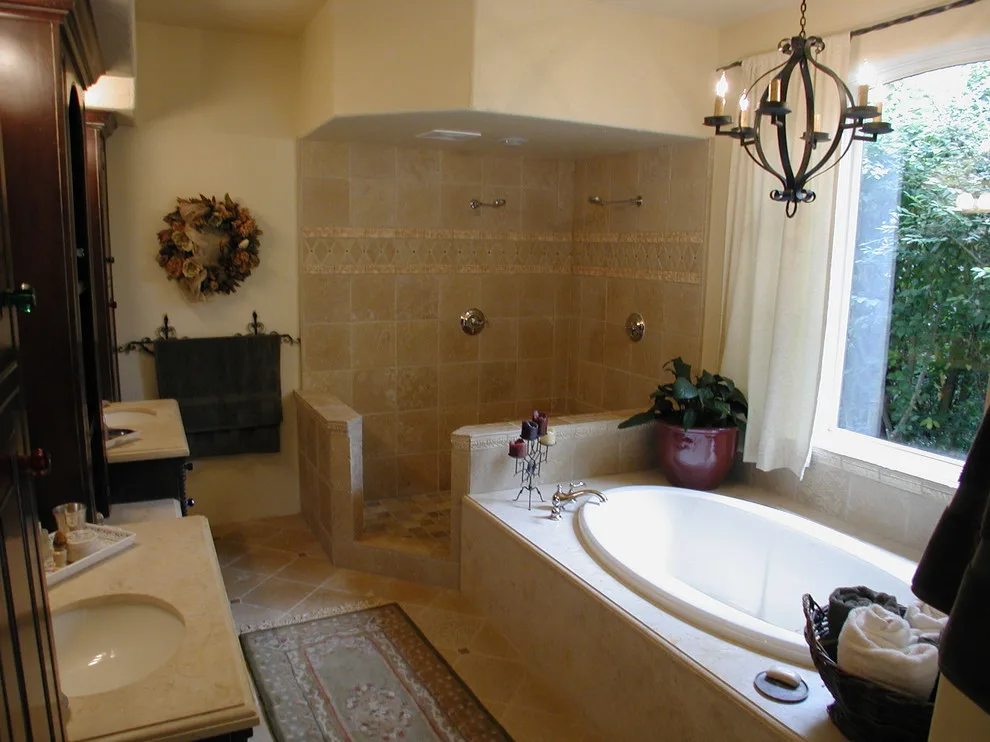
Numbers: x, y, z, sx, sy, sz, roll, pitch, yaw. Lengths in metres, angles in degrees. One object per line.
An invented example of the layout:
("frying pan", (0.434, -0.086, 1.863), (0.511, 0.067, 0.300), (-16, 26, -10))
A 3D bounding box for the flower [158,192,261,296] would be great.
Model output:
("flower", (-1.685, -0.815, 4.550), (0.658, 0.243, 0.597), (-10, -26, 43))

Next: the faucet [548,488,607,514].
("faucet", (0.399, 0.629, 3.746), (0.282, 0.122, 0.109), (-5, 3, -18))

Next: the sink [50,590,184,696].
("sink", (-0.997, 0.713, 2.006), (0.295, 0.159, 0.257), (-6, 11, -30))

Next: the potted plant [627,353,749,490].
("potted plant", (0.992, 0.235, 4.177), (0.664, 0.649, 0.653), (-3, 13, -10))

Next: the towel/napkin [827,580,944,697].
("towel/napkin", (1.173, 0.808, 2.242), (0.376, 0.139, 0.383), (9, 21, 33))

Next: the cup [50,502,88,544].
("cup", (-1.266, 0.452, 2.267), (0.101, 0.118, 0.100), (2, -1, 0))

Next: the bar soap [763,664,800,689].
("bar soap", (0.924, 0.981, 2.434), (0.075, 0.023, 0.049), (5, 6, 38))

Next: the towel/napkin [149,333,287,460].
("towel/napkin", (-1.649, 0.123, 4.437), (0.703, 0.742, 0.122), (-4, 15, -18))
